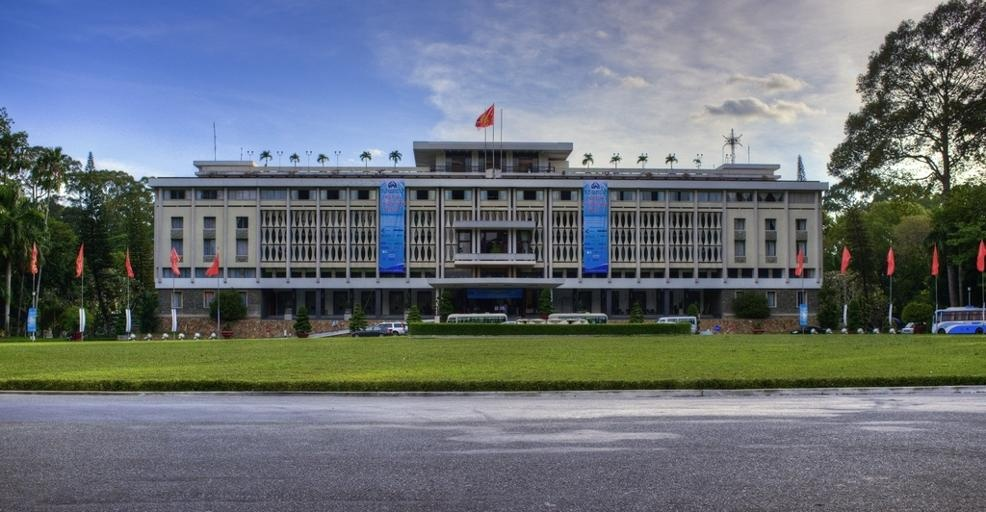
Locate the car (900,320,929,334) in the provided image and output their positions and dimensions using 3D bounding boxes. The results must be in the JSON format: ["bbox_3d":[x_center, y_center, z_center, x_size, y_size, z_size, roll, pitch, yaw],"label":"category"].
[{"bbox_3d":[67.295,10.936,209.818,5.082,1.941,2.656,3,-6,-19],"label":"car"}]

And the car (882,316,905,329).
[{"bbox_3d":[64.835,10.760,214.835,3.413,1.220,2.557,0,0,8],"label":"car"}]

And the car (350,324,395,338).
[{"bbox_3d":[-19.223,11.504,206.834,5.491,1.460,2.518,1,-6,0],"label":"car"}]

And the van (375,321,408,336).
[{"bbox_3d":[-16.178,11.262,207.369,4.636,1.539,2.372,2,-3,-7],"label":"van"}]
